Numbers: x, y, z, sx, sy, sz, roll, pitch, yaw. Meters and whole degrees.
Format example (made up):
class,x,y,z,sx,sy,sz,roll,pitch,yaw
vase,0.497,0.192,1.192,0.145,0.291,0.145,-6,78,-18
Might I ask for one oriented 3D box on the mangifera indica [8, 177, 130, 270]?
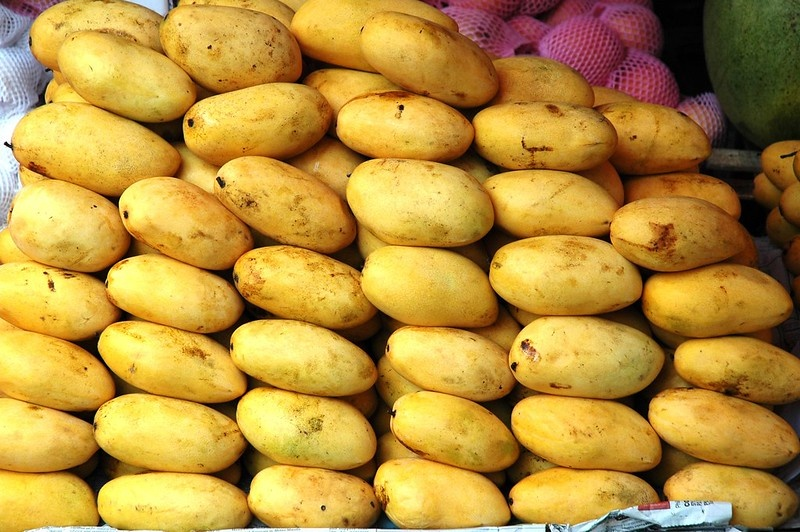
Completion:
class,x,y,z,sx,sy,sz,roll,pitch,yaw
mangifera indica,-1.042,-0.110,2.614,0.351,0.237,0.249,24,75,-9

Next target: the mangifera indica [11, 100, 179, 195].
class,x,y,z,sx,sy,sz,roll,pitch,yaw
mangifera indica,-0.993,-0.373,2.635,0.482,0.254,0.241,16,93,-13
